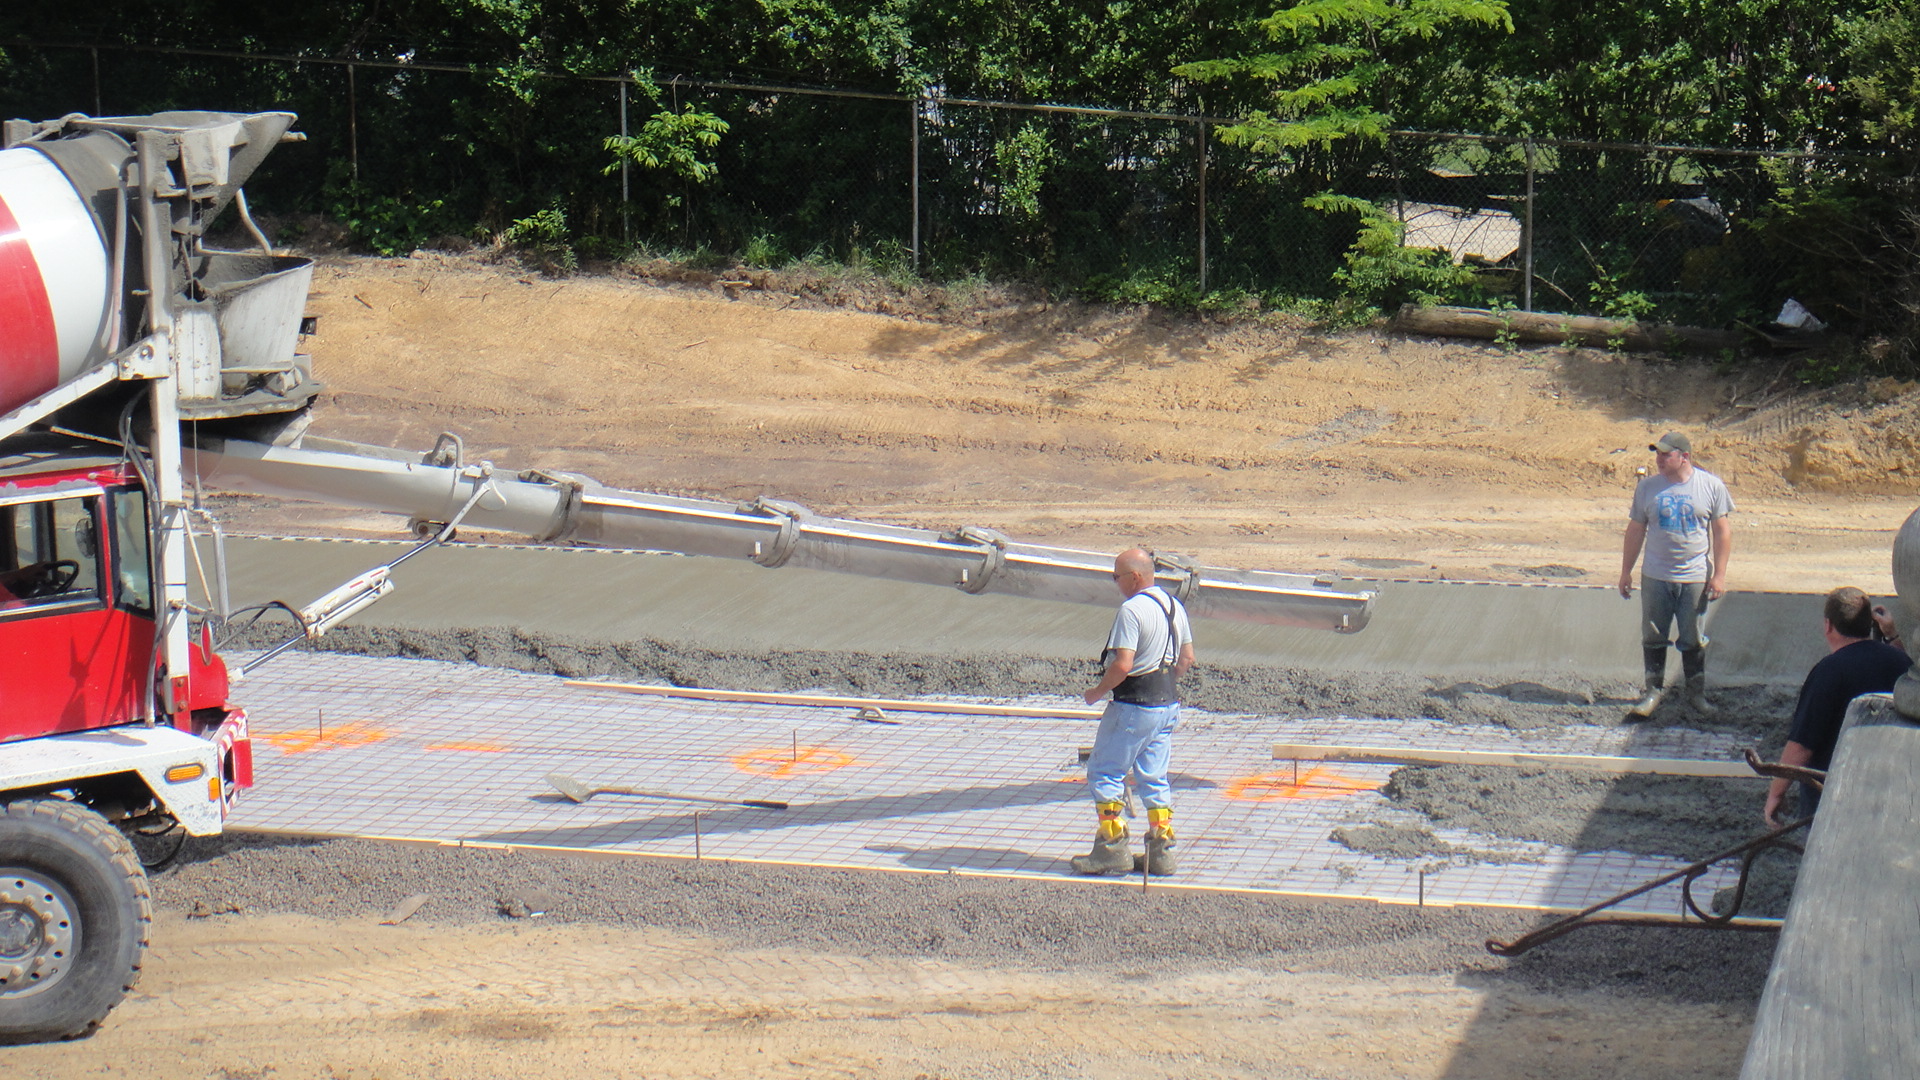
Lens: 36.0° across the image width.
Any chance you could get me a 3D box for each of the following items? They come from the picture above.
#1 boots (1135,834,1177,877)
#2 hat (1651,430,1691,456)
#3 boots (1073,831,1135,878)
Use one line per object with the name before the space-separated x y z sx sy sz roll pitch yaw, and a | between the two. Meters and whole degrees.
boots | 2.217 3.465 32.523 0.325 0.326 0.518 2 13 6
hat | 8.462 -1.163 35.072 0.366 0.289 0.786 5 9 18
boots | 1.635 3.486 32.508 0.751 0.455 0.348 2 1 13
